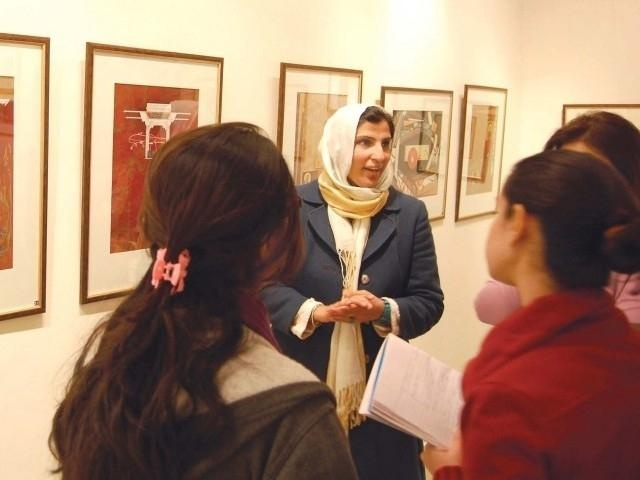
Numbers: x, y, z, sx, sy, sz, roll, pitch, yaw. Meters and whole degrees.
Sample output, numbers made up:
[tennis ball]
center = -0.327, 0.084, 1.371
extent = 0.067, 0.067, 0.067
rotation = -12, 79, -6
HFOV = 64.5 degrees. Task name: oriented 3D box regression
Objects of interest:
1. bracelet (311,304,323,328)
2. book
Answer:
[bracelet]
center = -0.014, 0.322, 2.122
extent = 0.029, 0.085, 0.061
rotation = 2, -5, -3
[book]
center = 0.271, 0.426, 1.422
extent = 0.303, 0.097, 0.238
rotation = 26, 47, -1
